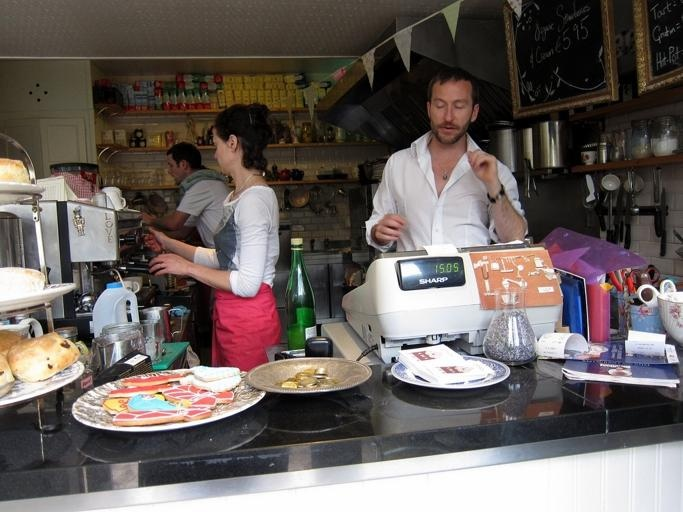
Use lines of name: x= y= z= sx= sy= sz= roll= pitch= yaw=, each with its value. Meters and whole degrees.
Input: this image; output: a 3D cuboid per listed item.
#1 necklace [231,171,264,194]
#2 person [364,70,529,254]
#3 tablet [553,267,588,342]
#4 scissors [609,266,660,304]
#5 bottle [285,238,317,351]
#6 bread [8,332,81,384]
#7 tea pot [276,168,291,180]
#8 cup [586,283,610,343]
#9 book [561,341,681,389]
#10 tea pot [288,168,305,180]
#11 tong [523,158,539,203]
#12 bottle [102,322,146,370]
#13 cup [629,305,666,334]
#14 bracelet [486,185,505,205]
necklace: x=-0.464 y=-0.366 z=2.506 sx=0.129 sy=0.130 sz=0.167 roll=-17 pitch=13 yaw=-28
person: x=0.459 y=-0.424 z=2.299 sx=0.715 sy=0.804 sz=0.671 roll=-3 pitch=4 yaw=2
tablet: x=0.752 y=0.163 z=1.654 sx=0.026 sy=0.247 sz=0.208 roll=-10 pitch=12 yaw=-15
scissors: x=1.023 y=0.089 z=1.811 sx=0.176 sy=0.101 sz=0.241 roll=-1 pitch=0 yaw=-1
bottle: x=-0.157 y=0.141 z=1.855 sx=0.111 sy=0.412 sz=0.298 roll=-3 pitch=4 yaw=-5
bread: x=-0.760 y=0.250 z=1.279 sx=0.123 sy=0.063 sz=0.122 roll=9 pitch=17 yaw=-26
tea pot: x=-0.720 y=-1.024 z=6.304 sx=0.198 sy=0.131 sz=0.133 roll=-1 pitch=5 yaw=7
cup: x=0.868 y=0.182 z=1.678 sx=0.107 sy=0.199 sz=0.049 roll=-6 pitch=5 yaw=-33
book: x=0.830 y=0.306 z=1.511 sx=0.313 sy=0.058 sz=0.344 roll=-1 pitch=5 yaw=22
tea pot: x=-0.562 y=-1.019 z=6.288 sx=0.172 sy=0.150 sz=0.131 roll=-7 pitch=8 yaw=-14
tong: x=1.218 y=-0.492 z=3.240 sx=0.078 sy=0.232 sz=0.049 roll=-28 pitch=34 yaw=-36
bottle: x=-0.733 y=0.301 z=1.740 sx=0.142 sy=0.139 sz=0.098 roll=2 pitch=-8 yaw=-16
cup: x=1.015 y=0.208 z=1.682 sx=0.096 sy=0.101 sz=0.101 roll=0 pitch=-4 yaw=0
bracelet: x=0.658 y=-0.259 z=2.135 sx=0.066 sy=0.073 sz=0.097 roll=-2 pitch=4 yaw=15
